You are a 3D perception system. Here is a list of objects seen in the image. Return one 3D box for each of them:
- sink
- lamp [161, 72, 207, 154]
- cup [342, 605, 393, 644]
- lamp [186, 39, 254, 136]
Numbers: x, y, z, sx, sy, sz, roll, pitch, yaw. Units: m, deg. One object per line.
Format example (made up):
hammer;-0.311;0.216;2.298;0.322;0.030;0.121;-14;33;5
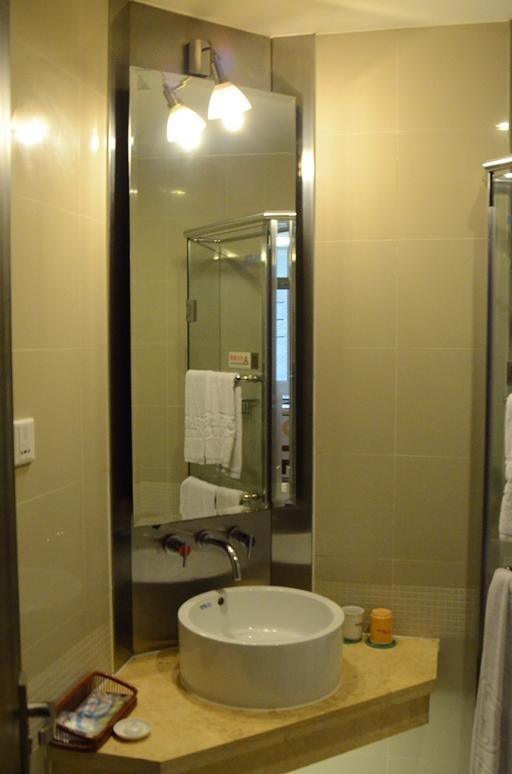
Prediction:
sink;0.008;0.624;1.629;0.398;0.221;0.385;5;11;-7
lamp;-0.188;-0.722;1.745;0.041;0.189;0.129;12;12;44
cup;0.324;0.685;1.943;0.166;0.132;0.101;-1;0;12
lamp;-0.102;-0.836;1.810;0.114;0.260;0.096;-12;1;-9
